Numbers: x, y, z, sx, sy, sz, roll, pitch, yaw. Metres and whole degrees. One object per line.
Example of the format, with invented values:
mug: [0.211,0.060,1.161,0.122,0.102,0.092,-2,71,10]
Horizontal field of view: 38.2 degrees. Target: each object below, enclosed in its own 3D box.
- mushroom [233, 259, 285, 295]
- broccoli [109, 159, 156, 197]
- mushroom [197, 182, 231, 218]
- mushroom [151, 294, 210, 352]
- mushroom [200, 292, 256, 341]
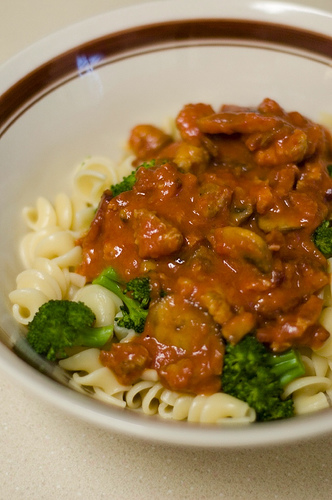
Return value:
mushroom: [0.532,0.123,2.781,0.310,0.101,0.281,-9,30,7]
broccoli: [-0.189,-0.500,3.581,0.362,0.124,0.270,-50,16,5]
mushroom: [0.320,-0.285,2.920,0.208,0.063,0.200,33,86,41]
mushroom: [0.071,0.410,2.674,0.356,0.129,0.275,34,63,30]
mushroom: [0.345,0.345,2.647,0.192,0.147,0.294,-29,53,-13]
